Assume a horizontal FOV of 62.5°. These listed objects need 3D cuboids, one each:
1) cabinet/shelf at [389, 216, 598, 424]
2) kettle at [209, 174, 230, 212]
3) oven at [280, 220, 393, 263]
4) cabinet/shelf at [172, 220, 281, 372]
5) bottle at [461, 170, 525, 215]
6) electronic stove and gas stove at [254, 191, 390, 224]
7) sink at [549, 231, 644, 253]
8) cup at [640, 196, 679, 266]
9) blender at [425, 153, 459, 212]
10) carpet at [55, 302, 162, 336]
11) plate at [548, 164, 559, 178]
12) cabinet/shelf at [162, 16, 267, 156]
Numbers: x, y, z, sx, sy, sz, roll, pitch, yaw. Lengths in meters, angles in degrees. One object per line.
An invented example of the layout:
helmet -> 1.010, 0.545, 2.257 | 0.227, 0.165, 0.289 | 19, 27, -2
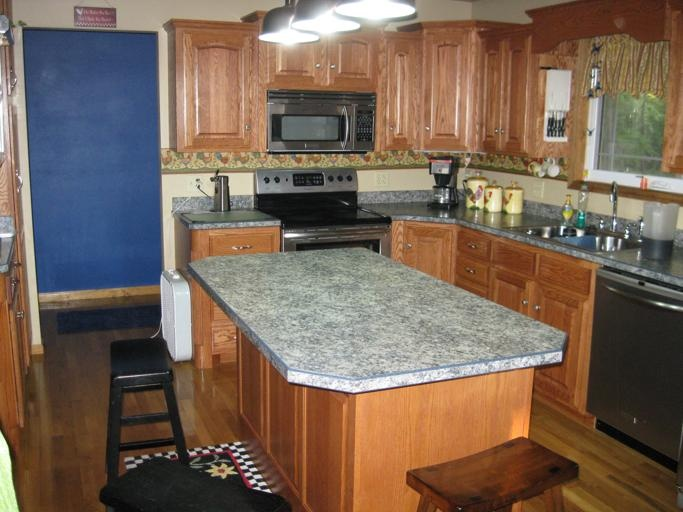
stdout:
cabinet/shelf -> 0.876, 0.318, 2.918 | 0.415, 0.712, 1.298 | -5, 16, -22
kettle -> -1.029, -0.538, 4.741 | 0.161, 0.367, 0.237 | -10, 26, -31
oven -> -0.050, -0.146, 4.718 | 0.866, 0.502, 0.478 | -4, 26, -5
cabinet/shelf -> -0.934, 0.196, 4.436 | 1.029, 1.281, 1.080 | -3, 9, -20
bottle -> 1.345, -0.545, 4.896 | 0.188, 0.259, 0.466 | -6, 11, -35
electronic stove and gas stove -> -0.197, -0.414, 4.805 | 0.973, 0.253, 0.790 | -6, 13, -17
sink -> 1.765, -0.094, 3.887 | 0.231, 0.112, 0.307 | -5, 14, -14
cup -> 1.855, -0.143, 3.269 | 0.169, 0.327, 0.167 | -3, 14, 1
blender -> 0.966, -0.696, 5.237 | 0.266, 0.449, 0.516 | -1, 13, 11
carpet -> -2.146, 0.570, 5.114 | 0.946, 0.046, 0.807 | -5, 12, -11
plate -> 1.716, -0.688, 4.542 | 0.077, 0.112, 0.130 | -5, 13, -10
cabinet/shelf -> -0.982, -1.325, 4.419 | 0.700, 1.001, 0.178 | -4, 14, -6
